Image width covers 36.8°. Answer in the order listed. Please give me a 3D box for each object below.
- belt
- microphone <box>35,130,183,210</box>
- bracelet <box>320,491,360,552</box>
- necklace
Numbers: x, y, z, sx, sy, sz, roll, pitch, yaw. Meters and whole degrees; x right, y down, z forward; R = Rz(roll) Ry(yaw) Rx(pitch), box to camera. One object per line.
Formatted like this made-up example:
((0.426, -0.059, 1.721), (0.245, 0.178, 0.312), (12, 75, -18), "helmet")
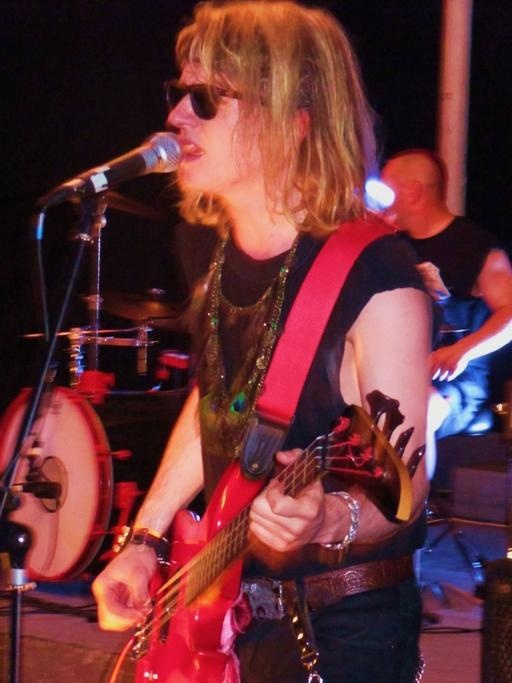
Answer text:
((0.121, 0.412, 1.263), (0.287, 0.143, 0.089), (-2, 17, -1), "belt")
((-0.242, -0.313, 1.483), (0.366, 0.092, 0.095), (-23, 46, -26), "microphone")
((0.140, 0.272, 1.154), (0.061, 0.083, 0.100), (9, 14, 10), "bracelet")
((-0.041, 0.015, 1.504), (0.240, 0.357, 0.212), (4, 15, -8), "necklace")
